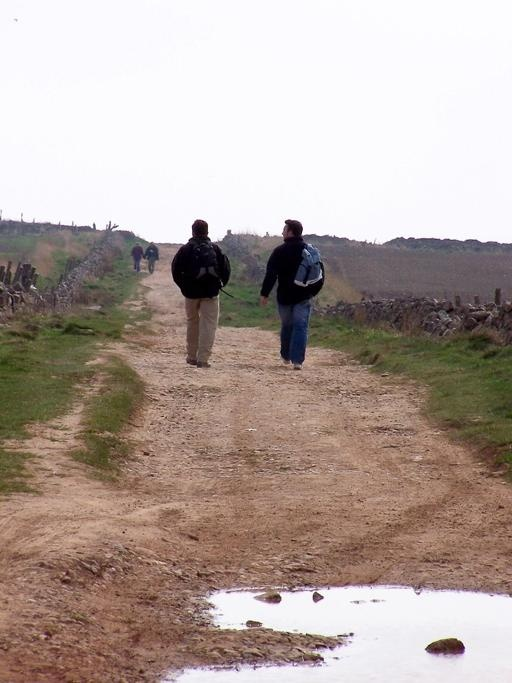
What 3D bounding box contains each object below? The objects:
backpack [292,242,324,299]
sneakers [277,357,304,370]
[{"bbox_3d":[0.684,-0.908,10.429,0.317,0.674,0.557,3,9,11],"label":"backpack"},{"bbox_3d":[0.463,0.314,10.814,0.091,0.098,0.383,5,-14,26],"label":"sneakers"}]
